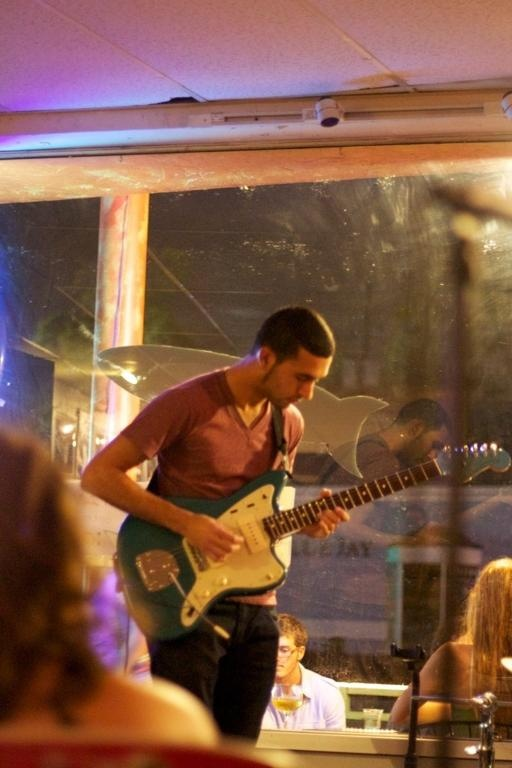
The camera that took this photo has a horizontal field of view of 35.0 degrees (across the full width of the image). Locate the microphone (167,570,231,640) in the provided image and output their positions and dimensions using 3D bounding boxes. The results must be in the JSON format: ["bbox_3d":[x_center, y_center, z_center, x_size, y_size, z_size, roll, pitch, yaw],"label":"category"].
[{"bbox_3d":[-0.138,0.516,1.888,0.023,0.215,0.018,-45,-3,-3],"label":"microphone"}]

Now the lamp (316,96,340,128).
[{"bbox_3d":[0.232,-0.862,2.579,0.076,0.083,0.033,-9,1,2],"label":"lamp"}]

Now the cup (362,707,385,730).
[{"bbox_3d":[0.407,1.163,2.829,0.080,0.049,0.068,1,-9,-5],"label":"cup"}]
